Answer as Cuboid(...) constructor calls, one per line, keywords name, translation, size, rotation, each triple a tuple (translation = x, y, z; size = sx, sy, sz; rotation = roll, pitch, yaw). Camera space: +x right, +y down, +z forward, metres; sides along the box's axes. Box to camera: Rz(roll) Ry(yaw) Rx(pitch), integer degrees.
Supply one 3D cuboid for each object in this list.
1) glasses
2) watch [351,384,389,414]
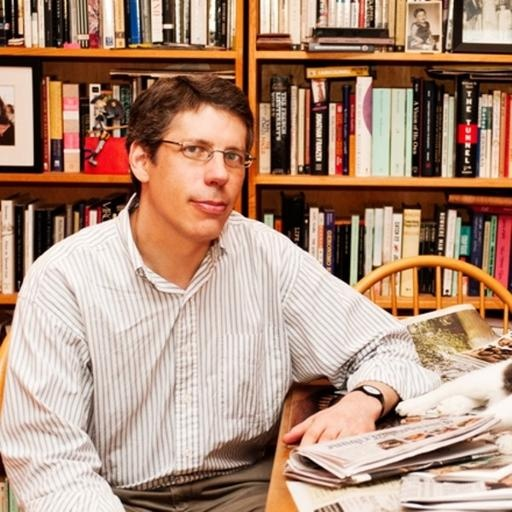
Cuboid(name="glasses", translation=(-0.093, -0.181, 1.162), size=(0.148, 0.051, 0.061), rotation=(-1, 3, -16))
Cuboid(name="watch", translation=(0.206, 0.245, 1.150), size=(0.047, 0.042, 0.047), rotation=(12, 17, -33))
